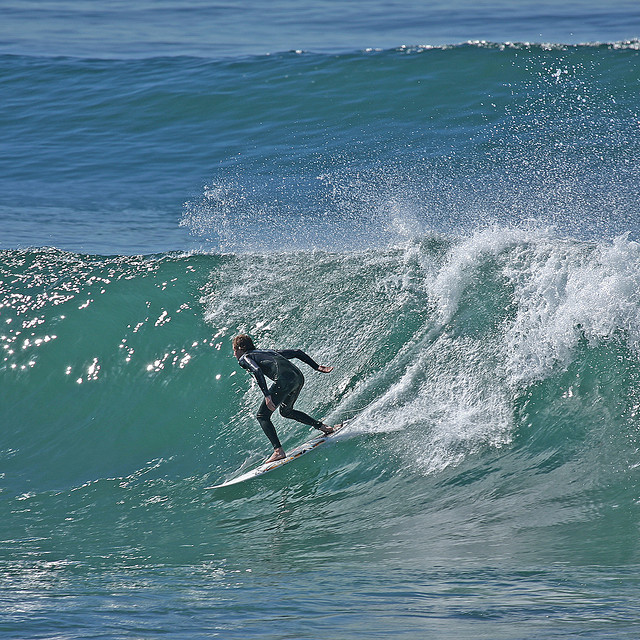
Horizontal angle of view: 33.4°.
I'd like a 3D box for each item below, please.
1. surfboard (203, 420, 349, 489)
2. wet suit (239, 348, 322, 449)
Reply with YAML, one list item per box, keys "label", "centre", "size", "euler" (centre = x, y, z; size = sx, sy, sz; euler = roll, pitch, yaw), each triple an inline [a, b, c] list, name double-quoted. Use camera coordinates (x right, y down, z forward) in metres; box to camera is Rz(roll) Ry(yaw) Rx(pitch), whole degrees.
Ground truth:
- label: "surfboard"
  centre: [-0.440, 1.727, 13.439]
  size: [2.003, 0.122, 0.286]
  euler: [-27, 13, 8]
- label: "wet suit"
  centre: [-0.446, 0.830, 13.353]
  size: [1.019, 0.570, 1.482]
  euler: [-15, 84, -26]
